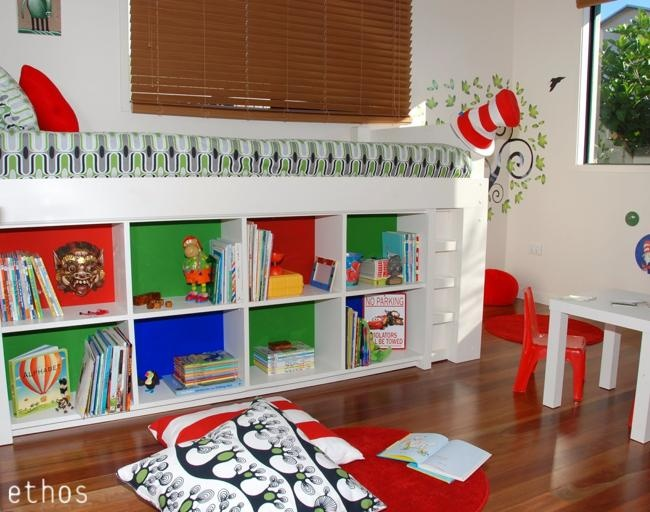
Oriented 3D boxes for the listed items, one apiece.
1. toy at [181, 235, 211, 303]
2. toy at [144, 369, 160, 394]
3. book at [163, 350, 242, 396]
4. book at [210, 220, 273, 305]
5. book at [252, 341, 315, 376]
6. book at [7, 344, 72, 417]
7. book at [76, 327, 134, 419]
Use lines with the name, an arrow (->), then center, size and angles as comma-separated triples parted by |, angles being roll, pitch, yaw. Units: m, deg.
toy -> -0.702, 0.063, 2.755 | 0.200, 0.329, 0.114 | 6, 12, 25
toy -> -0.886, 0.637, 2.653 | 0.064, 0.112, 0.107 | 1, -10, 17
book -> -0.658, 0.592, 2.769 | 0.387, 0.148, 0.293 | -4, 12, -21
book -> -0.461, -0.016, 2.813 | 0.360, 0.529, 0.406 | -3, 9, -21
book -> -0.214, 0.568, 2.925 | 0.207, 0.076, 0.205 | -5, 8, -40
book -> -1.354, 0.569, 2.554 | 0.253, 0.374, 0.310 | 2, 5, 42
book -> -1.062, 0.553, 2.628 | 0.308, 0.509, 0.512 | 1, 8, -21
